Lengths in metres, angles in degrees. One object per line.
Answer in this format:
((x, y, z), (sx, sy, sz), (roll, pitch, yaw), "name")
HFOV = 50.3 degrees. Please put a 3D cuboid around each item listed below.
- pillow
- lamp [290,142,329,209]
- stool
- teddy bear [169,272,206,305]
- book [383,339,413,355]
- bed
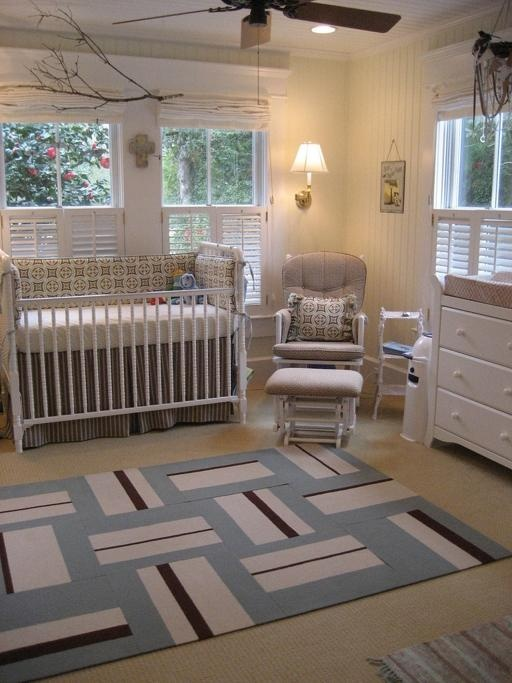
((0.448, -0.153, 3.725), (0.341, 0.250, 0.115), (2, -8, 7), "pillow")
((0.408, -1.294, 4.245), (0.258, 0.504, 0.482), (1, 7, 6), "lamp")
((0.347, 0.354, 3.217), (0.665, 0.468, 0.440), (0, 7, 7), "stool")
((-0.457, -0.351, 3.655), (0.264, 0.240, 0.146), (-4, -14, 12), "teddy bear")
((0.938, 0.047, 3.648), (0.124, 0.034, 0.132), (11, 13, 31), "book")
((-0.819, -0.048, 3.494), (1.494, 1.201, 1.143), (-3, 8, -25), "bed")
